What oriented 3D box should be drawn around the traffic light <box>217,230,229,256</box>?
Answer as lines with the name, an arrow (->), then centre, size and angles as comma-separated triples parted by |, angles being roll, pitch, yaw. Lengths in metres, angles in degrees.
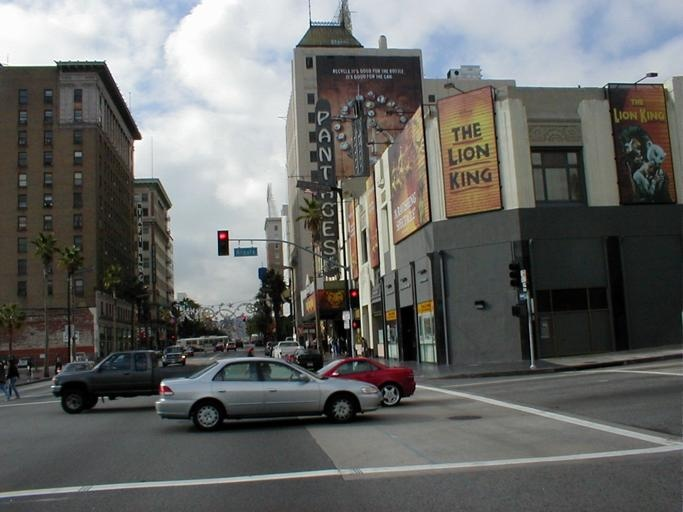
traffic light -> -6.202, -0.606, 34.990 | 0.457, 1.251, 1.060 | -1, -9, -3

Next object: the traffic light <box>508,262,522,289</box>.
traffic light -> 8.332, 0.907, 32.105 | 0.515, 1.168, 1.783 | -4, -9, 14

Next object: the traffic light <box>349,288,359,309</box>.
traffic light -> 0.720, 2.562, 39.955 | 0.429, 1.101, 0.641 | 0, -9, -15
